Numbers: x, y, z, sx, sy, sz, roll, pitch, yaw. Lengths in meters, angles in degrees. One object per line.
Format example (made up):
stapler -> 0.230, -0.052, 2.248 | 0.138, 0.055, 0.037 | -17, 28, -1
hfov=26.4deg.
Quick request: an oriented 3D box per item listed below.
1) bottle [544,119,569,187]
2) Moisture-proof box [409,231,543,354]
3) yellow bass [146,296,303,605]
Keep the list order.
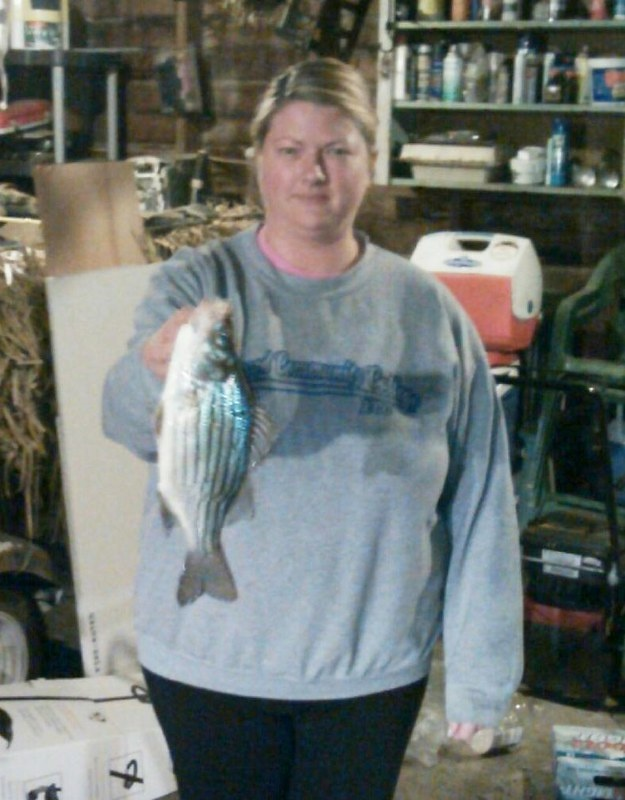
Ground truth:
bottle -> 0.386, -0.390, 2.089 | 0.031, 0.112, 0.033 | -4, 29, 2
Moisture-proof box -> 0.297, -0.200, 2.207 | 0.228, 0.196, 0.166 | 21, 16, 17
yellow bass -> -0.154, 0.085, 2.097 | 0.206, 0.489, 0.057 | 6, 10, 24
